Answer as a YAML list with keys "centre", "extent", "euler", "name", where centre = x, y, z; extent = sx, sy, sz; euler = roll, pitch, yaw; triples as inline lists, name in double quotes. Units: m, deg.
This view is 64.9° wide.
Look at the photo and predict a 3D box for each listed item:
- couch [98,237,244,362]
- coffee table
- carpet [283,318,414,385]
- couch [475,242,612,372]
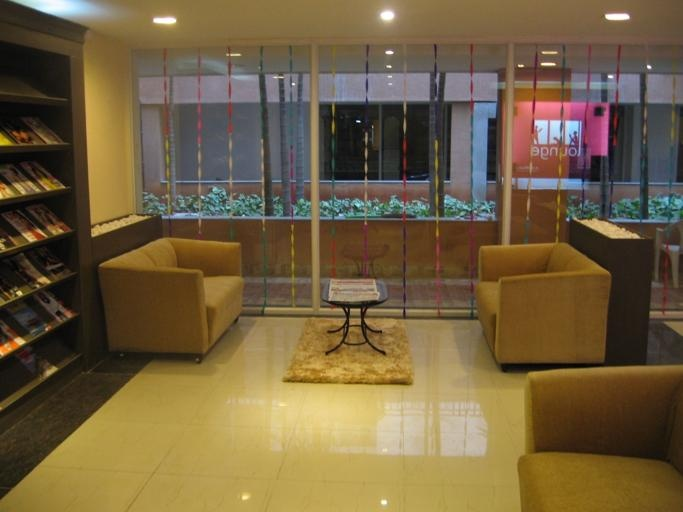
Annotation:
- centre: [-1.655, 0.389, 5.540]
  extent: [1.065, 0.946, 1.270]
  euler: [1, 15, 6]
  name: "couch"
- centre: [0.122, 0.582, 5.286]
  extent: [0.674, 0.612, 0.691]
  euler: [0, 9, 0]
  name: "coffee table"
- centre: [0.111, 0.878, 5.371]
  extent: [1.285, 0.136, 1.414]
  euler: [5, 20, 15]
  name: "carpet"
- centre: [1.926, 0.437, 5.371]
  extent: [1.007, 0.944, 1.447]
  euler: [-2, 13, 7]
  name: "couch"
